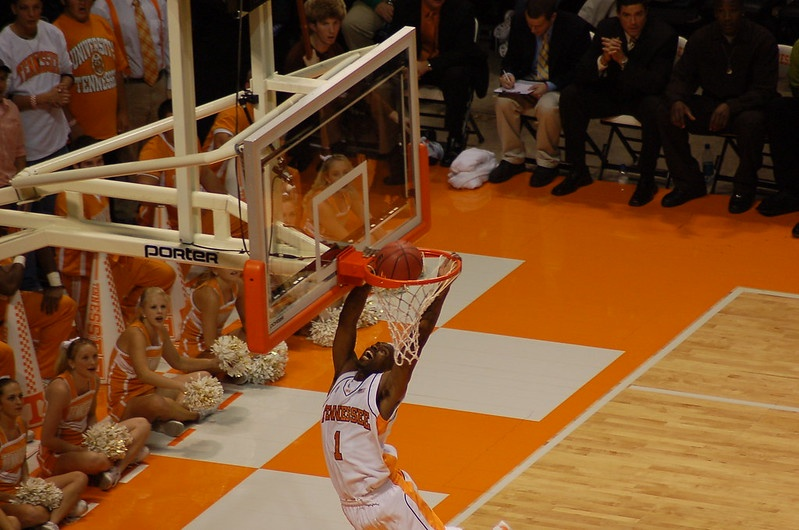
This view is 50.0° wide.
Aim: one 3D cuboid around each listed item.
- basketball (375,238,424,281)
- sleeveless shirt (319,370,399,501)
[{"bbox_3d":[-0.021,-0.028,5.385,0.305,0.214,0.228,2,14,-1],"label":"basketball"},{"bbox_3d":[-0.293,1.117,5.512,0.441,0.869,0.263,12,17,37],"label":"sleeveless shirt"}]
